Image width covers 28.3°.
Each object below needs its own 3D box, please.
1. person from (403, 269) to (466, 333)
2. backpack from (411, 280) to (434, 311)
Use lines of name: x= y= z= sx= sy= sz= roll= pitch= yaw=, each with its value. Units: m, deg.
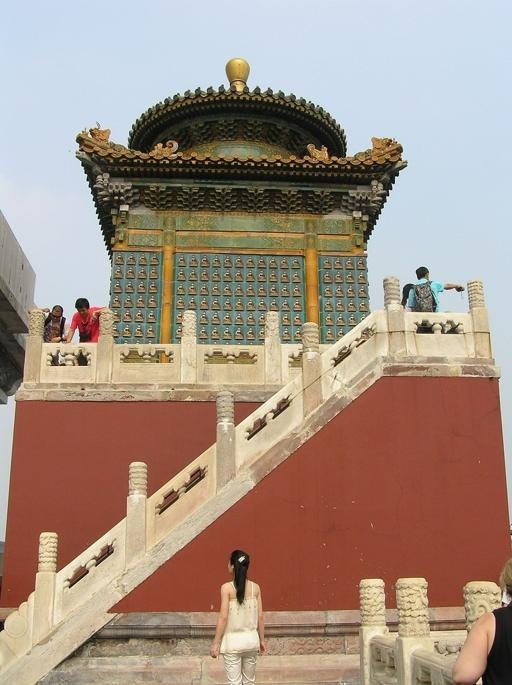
person: x=1.753 y=-0.319 z=10.145 sx=0.704 sy=0.895 sz=0.261 roll=-13 pitch=-46 yaw=17
backpack: x=1.875 y=-0.520 z=11.364 sx=0.262 sy=0.368 sz=0.218 roll=-2 pitch=-7 yaw=10
